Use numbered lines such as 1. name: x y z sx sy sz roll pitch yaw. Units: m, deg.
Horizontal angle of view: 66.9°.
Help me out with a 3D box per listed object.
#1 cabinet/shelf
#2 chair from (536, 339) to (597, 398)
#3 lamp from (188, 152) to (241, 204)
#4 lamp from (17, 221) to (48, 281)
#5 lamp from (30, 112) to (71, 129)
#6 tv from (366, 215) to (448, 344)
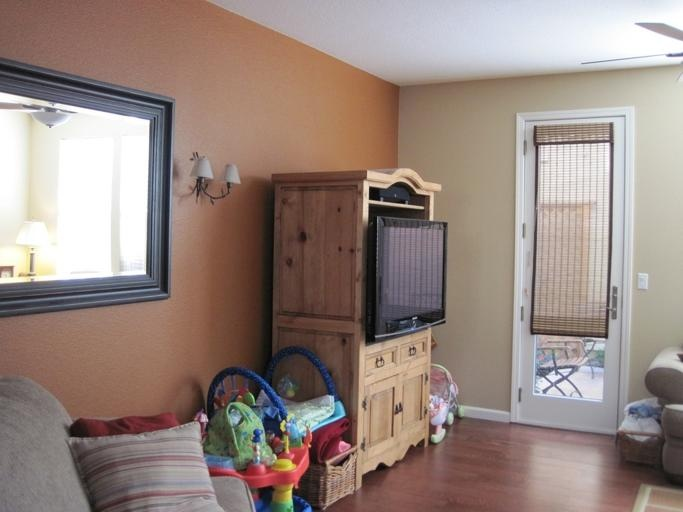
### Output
1. cabinet/shelf: 0.147 0.474 3.914 1.228 2.264 0.689 -2 4 -35
2. chair: 2.185 1.005 4.924 0.487 0.665 0.507 0 -2 34
3. lamp: -0.831 -0.522 3.504 0.211 0.328 0.367 4 12 -25
4. lamp: -1.548 -0.025 2.581 0.123 0.251 0.117 2 0 -26
5. lamp: -1.466 -0.689 2.604 0.085 0.043 0.089 -1 -1 9
6. tv: 0.531 0.170 3.979 0.096 0.843 1.048 2 0 37
